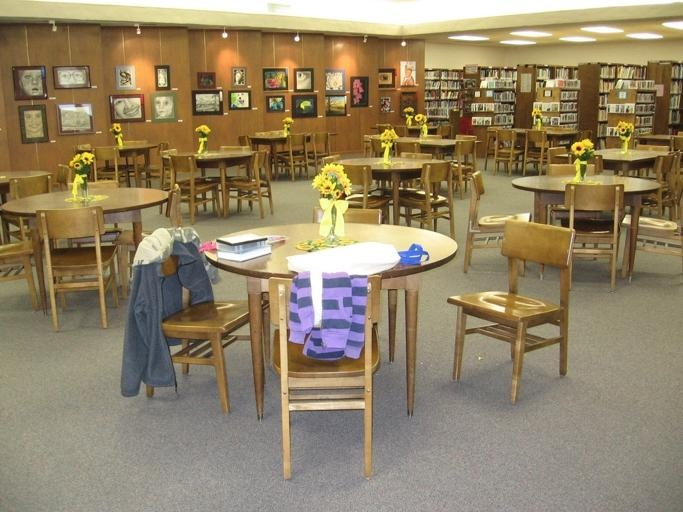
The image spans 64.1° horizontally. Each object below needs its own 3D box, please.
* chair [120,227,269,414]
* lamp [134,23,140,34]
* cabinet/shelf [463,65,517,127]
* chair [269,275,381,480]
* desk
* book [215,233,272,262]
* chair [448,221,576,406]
[{"bbox_3d":[-0.706,0.205,3.600,0.951,1.389,0.946,1,21,0],"label":"chair"},{"bbox_3d":[-4.309,-4.802,11.594,0.120,0.172,0.315,-8,14,-18],"label":"lamp"},{"bbox_3d":[3.972,-4.107,14.079,1.451,1.596,0.828,-7,14,-14],"label":"cabinet/shelf"},{"bbox_3d":[-0.071,0.511,2.821,0.547,0.975,0.708,-4,14,-2],"label":"chair"},{"bbox_3d":[-0.046,0.414,3.395,1.438,0.957,1.342,-1,5,6],"label":"desk"},{"bbox_3d":[-0.566,-0.054,3.106,0.271,0.112,0.261,8,18,41],"label":"book"},{"bbox_3d":[1.066,0.303,3.363,0.649,0.974,0.534,-15,18,-39],"label":"chair"}]
